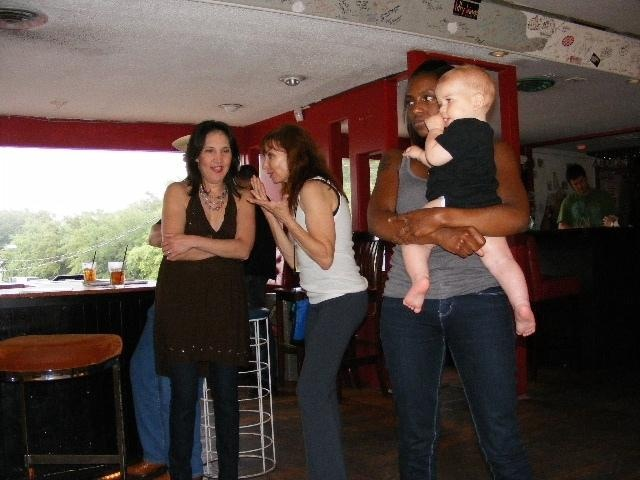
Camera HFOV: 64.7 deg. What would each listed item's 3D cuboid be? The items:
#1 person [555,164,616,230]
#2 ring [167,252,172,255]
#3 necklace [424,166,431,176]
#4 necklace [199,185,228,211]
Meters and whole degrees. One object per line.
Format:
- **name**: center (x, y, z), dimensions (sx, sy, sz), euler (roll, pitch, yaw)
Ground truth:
- **person**: center (3.648, -0.602, 6.965), dimensions (0.704, 0.675, 0.424), euler (-3, 1, 28)
- **ring**: center (-0.816, 0.072, 2.715), dimensions (0.039, 0.016, 0.007), euler (-3, 2, 31)
- **necklace**: center (0.472, -0.307, 2.253), dimensions (0.042, 0.035, 0.042), euler (3, 8, 4)
- **necklace**: center (-0.608, -0.220, 2.874), dimensions (0.136, 0.151, 0.062), euler (-2, -39, -25)
